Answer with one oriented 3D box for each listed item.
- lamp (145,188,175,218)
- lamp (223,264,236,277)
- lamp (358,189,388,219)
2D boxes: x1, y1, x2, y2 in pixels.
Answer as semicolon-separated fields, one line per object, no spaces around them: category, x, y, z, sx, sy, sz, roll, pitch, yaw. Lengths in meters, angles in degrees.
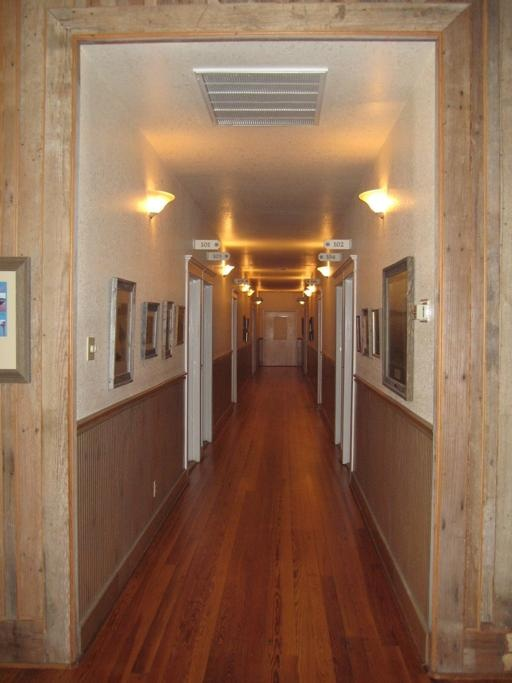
lamp;-0.675;-0.936;3.853;0.178;0.150;0.241;0;2;3
lamp;-0.435;-1.070;8.254;0.137;0.180;0.196;-1;-23;3
lamp;0.792;-0.934;3.751;0.144;0.187;0.172;-4;3;-22
